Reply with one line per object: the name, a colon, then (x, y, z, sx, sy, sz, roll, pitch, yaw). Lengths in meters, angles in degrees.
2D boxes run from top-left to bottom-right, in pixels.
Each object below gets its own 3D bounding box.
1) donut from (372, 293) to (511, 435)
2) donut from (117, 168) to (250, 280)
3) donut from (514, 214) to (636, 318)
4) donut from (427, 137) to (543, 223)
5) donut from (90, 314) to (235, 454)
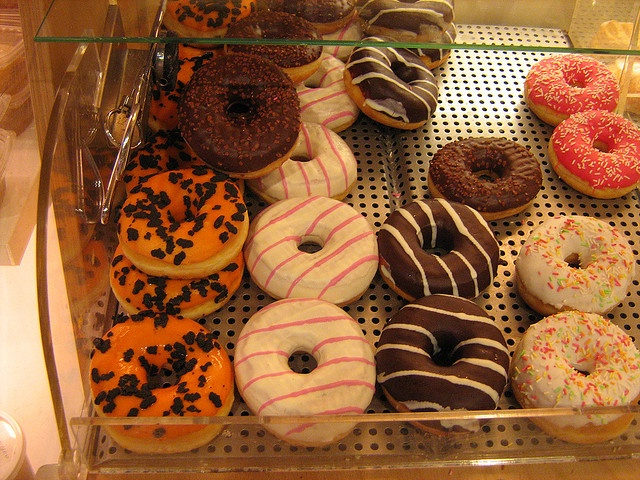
donut: (0.473, 0.451, 2.103, 0.475, 0.208, 0.548, 4, 33, 7)
donut: (-0.517, -0.070, 2.187, 0.468, 0.148, 0.417, -7, 55, -11)
donut: (1.021, 0.117, 2.299, 0.428, 0.178, 0.385, 2, 53, -5)
donut: (0.737, -0.279, 2.501, 0.385, 0.145, 0.404, -13, 49, -9)
donut: (-0.536, 0.494, 1.950, 0.418, 0.156, 0.436, -2, 50, -19)
